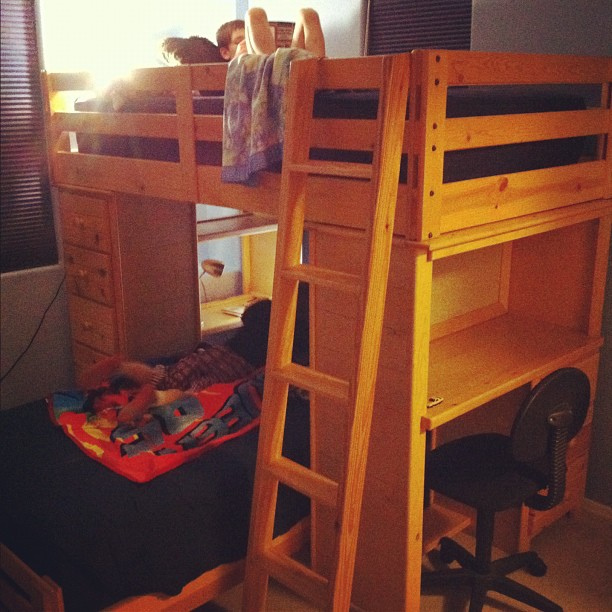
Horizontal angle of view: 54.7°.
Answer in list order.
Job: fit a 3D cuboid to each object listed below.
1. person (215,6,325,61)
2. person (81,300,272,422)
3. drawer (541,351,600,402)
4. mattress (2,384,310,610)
[{"bbox_3d":[-0.143,-1.016,2.227,0.375,0.179,1.069,-3,23,-7],"label":"person"},{"bbox_3d":[-0.600,0.084,3.156,0.777,0.632,0.864,-5,14,-31],"label":"person"},{"bbox_3d":[1.112,0.244,2.519,0.255,0.180,0.260,-6,8,-28],"label":"drawer"},{"bbox_3d":[-0.717,0.444,2.461,1.380,0.601,0.956,-5,16,-31],"label":"mattress"}]
